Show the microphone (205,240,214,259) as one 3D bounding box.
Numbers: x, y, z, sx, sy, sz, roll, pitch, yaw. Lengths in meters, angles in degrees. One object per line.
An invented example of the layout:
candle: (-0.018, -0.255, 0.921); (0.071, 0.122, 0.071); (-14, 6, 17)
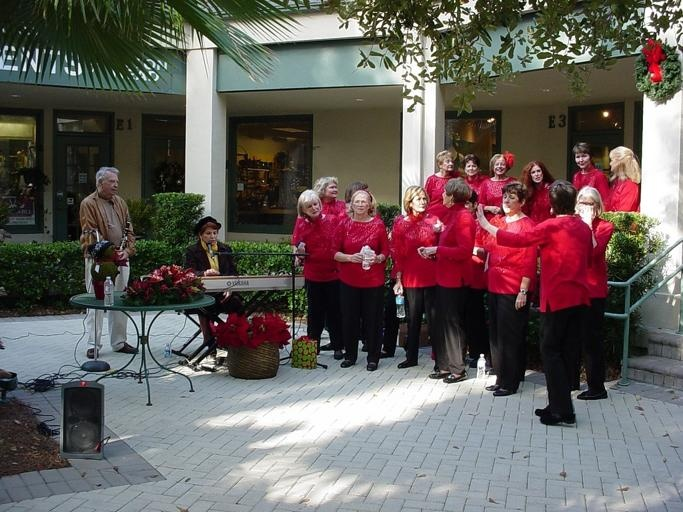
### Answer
microphone: (-1.701, -0.083, 6.650); (0.171, 0.162, 0.112); (-2, -3, 39)

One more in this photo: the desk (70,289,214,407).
desk: (-2.205, 0.878, 5.787); (1.472, 1.000, 1.482); (1, -2, 3)

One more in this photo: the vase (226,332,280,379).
vase: (-1.065, 1.152, 6.157); (0.548, 0.438, 0.524); (6, 11, -41)

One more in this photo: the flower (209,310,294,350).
flower: (-1.060, 0.871, 5.994); (0.874, 0.428, 0.303); (0, 4, -13)

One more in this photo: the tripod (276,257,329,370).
tripod: (-0.543, 0.669, 6.783); (0.530, 1.507, 0.511); (1, 2, 14)

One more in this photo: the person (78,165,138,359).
person: (-3.096, 0.098, 6.878); (0.728, 2.428, 0.669); (-4, 9, -42)

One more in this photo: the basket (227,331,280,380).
basket: (-1.092, 1.202, 6.253); (0.668, 0.426, 0.686); (6, 5, 40)

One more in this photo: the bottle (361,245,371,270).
bottle: (0.298, 0.019, 6.186); (0.105, 0.281, 0.075); (0, 3, -6)

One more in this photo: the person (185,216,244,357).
person: (-1.692, 0.345, 6.771); (0.649, 1.647, 0.806); (-8, 10, -27)

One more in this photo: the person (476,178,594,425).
person: (1.931, 0.412, 4.775); (0.763, 2.195, 0.370); (2, 3, 17)
